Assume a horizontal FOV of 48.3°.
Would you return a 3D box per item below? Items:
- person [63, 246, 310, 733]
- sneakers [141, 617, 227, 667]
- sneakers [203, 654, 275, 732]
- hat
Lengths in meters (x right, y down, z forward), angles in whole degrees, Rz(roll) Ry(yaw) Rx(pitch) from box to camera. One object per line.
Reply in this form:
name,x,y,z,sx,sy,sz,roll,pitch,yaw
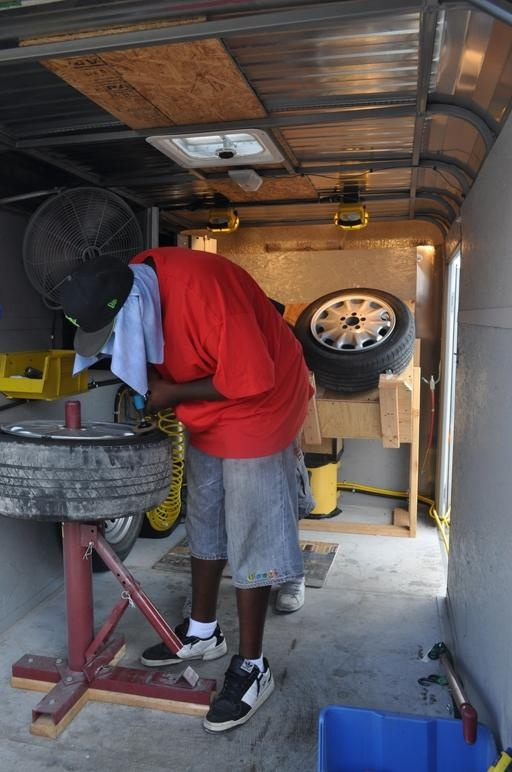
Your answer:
person,-0.208,0.369,2.235,0.757,1.793,0.902,2,5,12
sneakers,-0.306,1.147,2.574,0.479,0.225,0.157,2,0,-15
sneakers,-0.046,1.155,2.208,0.124,0.155,0.353,-2,3,24
hat,-0.529,-0.262,1.893,0.242,0.339,0.206,1,5,0
